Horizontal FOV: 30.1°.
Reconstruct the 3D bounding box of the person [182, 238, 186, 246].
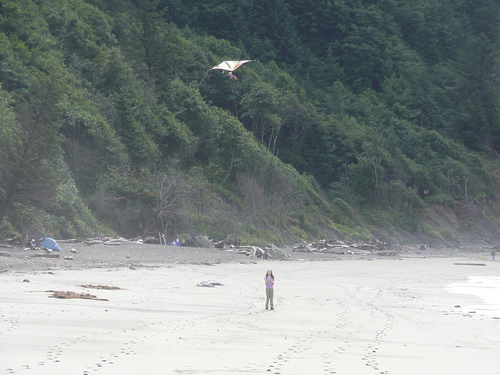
[{"bbox_3d":[-6.492,5.442,91.260,0.331,0.659,0.788,-1,0,-4],"label":"person"}]
